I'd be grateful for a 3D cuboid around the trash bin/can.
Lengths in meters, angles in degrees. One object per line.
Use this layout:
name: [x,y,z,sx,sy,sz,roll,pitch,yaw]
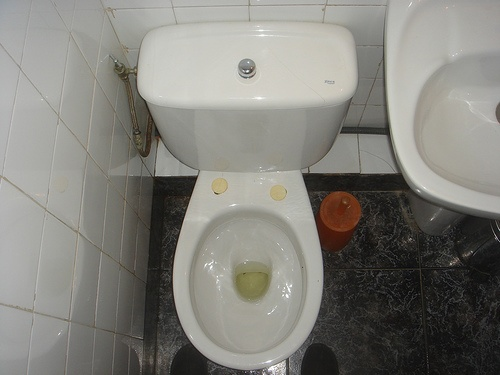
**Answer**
trash bin/can: [0.335,0.133,1.529,0.148,0.212,0.267,5,62,-3]
